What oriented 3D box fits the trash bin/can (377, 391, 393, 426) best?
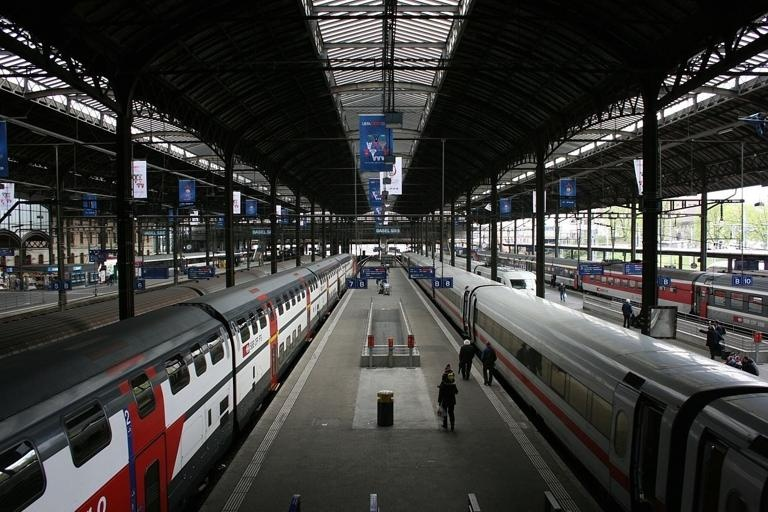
[{"bbox_3d":[0.051,5.262,16.934,0.582,1.154,0.341,0,5,-1],"label":"trash bin/can"}]
